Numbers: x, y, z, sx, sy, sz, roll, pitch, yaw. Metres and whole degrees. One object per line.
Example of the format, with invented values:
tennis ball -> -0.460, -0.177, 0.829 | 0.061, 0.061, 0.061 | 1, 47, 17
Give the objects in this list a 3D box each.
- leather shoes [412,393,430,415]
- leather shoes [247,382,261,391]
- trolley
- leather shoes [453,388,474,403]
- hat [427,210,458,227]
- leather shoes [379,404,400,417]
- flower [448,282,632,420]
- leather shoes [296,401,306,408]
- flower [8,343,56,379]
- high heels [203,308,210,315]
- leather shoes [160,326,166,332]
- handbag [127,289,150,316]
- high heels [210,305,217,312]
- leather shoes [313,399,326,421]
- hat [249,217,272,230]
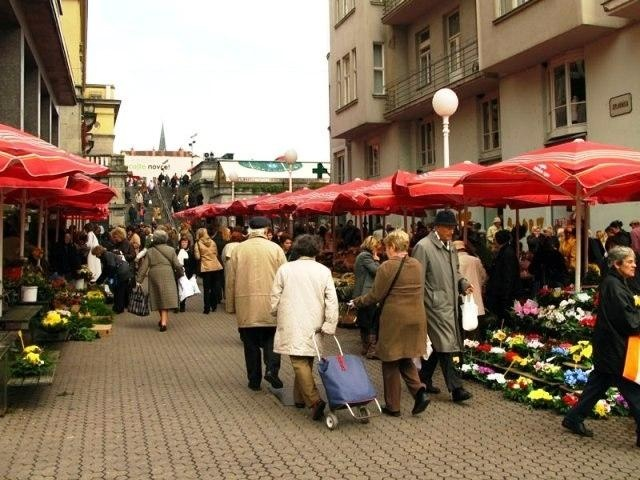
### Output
leather shoes -> 1.279, 2.052, 7.963 | 0.202, 0.311, 0.298 | 0, 1, 7
leather shoes -> -0.969, 2.113, 9.225 | 0.076, 0.158, 0.221 | 1, 6, -30
trolley -> 0.292, 1.687, 7.691 | 0.703, 1.127, 0.979 | 0, 1, -14
leather shoes -> 1.935, 2.073, 8.531 | 0.246, 0.247, 0.375 | 0, 2, 12
hat -> 1.726, -0.304, 8.585 | 0.259, 0.175, 0.309 | 4, 5, 18
leather shoes -> 0.896, 2.162, 8.063 | 0.303, 0.116, 0.194 | 1, 2, 32
flower -> 3.259, 1.625, 9.191 | 1.547, 0.899, 1.624 | 1, 4, -4
leather shoes -> -0.271, 2.174, 8.361 | 0.155, 0.085, 0.105 | 0, 2, 11
flower -> -3.858, 1.605, 8.386 | 0.409, 0.245, 0.420 | -1, 6, -24
high heels -> -3.106, 1.893, 17.060 | 0.134, 0.154, 0.137 | 6, -8, -39
leather shoes -> -3.561, 2.008, 14.206 | 0.177, 0.183, 0.102 | 1, -13, -13
handbag -> -4.516, 1.535, 15.519 | 0.275, 0.936, 0.880 | 1, 4, -31
high heels -> -3.041, 1.931, 17.930 | 0.120, 0.160, 0.131 | 3, -12, -12
leather shoes -> -0.015, 2.109, 7.782 | 0.120, 0.313, 0.136 | -2, 43, -23
hat -> -0.915, -0.268, 9.391 | 0.294, 0.195, 0.376 | 0, 2, -9
